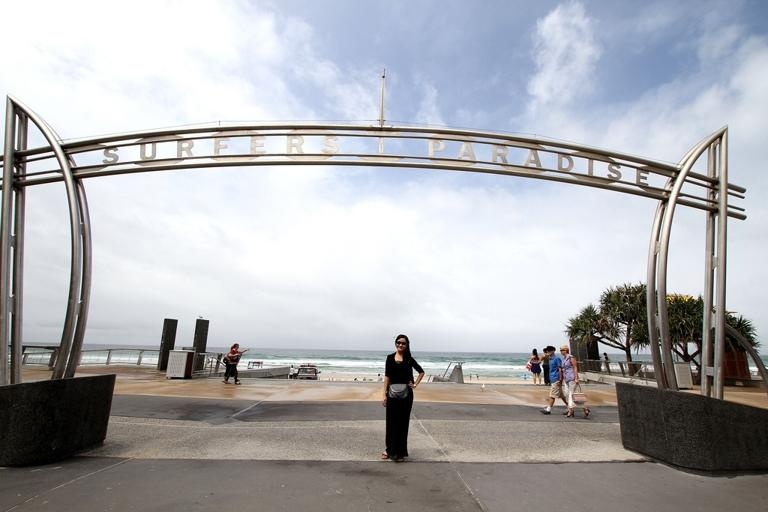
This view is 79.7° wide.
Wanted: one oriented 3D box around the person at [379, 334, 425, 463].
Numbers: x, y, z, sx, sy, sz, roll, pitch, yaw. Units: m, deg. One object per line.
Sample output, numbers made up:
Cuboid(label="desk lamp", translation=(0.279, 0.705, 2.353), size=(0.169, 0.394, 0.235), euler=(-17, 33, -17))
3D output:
Cuboid(label="person", translation=(0.327, 2.466, 7.993), size=(0.668, 2.096, 1.315), euler=(2, -12, 2))

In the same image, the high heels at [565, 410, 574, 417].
Cuboid(label="high heels", translation=(4.906, 4.210, 12.145), size=(0.109, 0.146, 0.330), euler=(-23, -36, 32))

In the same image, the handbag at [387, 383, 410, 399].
Cuboid(label="handbag", translation=(0.263, 2.321, 7.868), size=(0.474, 0.330, 0.214), euler=(-1, -18, 1))

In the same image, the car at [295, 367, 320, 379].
Cuboid(label="car", translation=(-5.382, 8.267, 32.425), size=(1.265, 0.969, 1.742), euler=(0, -22, -2))
